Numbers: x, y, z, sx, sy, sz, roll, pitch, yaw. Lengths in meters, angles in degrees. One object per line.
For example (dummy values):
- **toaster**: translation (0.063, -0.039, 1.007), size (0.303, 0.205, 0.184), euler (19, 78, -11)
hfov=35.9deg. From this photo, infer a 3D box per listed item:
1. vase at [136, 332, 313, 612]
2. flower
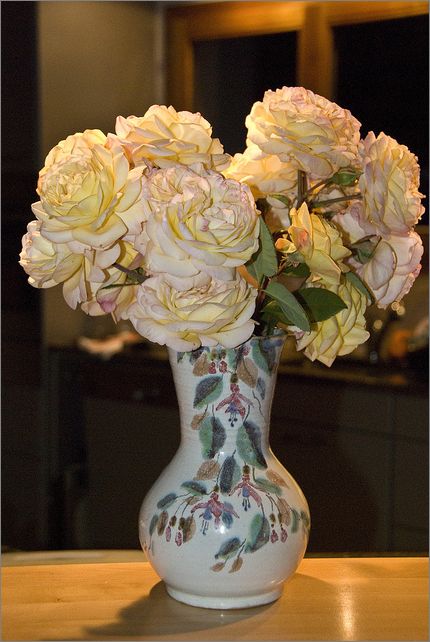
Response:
- **vase**: translation (0.011, 0.132, 0.611), size (0.172, 0.217, 0.159), euler (1, -2, 11)
- **flower**: translation (0.014, -0.076, 0.512), size (0.301, 0.222, 0.176), euler (1, 2, -23)
